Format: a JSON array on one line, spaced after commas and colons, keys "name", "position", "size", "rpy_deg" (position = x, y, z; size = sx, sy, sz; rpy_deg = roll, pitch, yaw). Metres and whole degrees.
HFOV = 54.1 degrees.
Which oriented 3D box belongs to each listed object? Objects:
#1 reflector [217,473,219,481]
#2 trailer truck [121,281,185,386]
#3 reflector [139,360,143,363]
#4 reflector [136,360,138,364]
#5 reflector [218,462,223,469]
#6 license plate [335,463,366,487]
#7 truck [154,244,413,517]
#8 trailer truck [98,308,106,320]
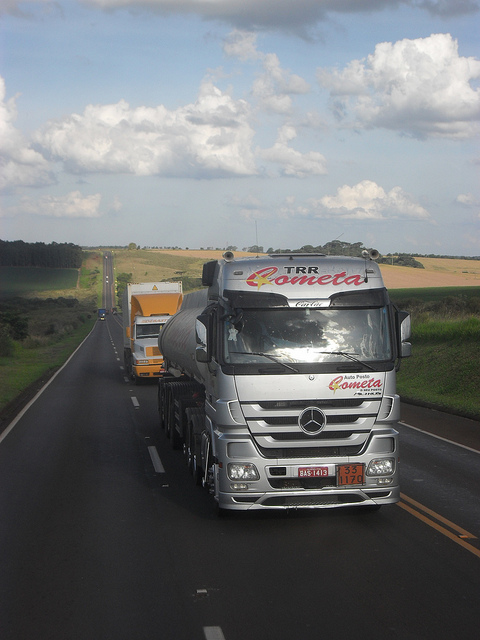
[{"name": "reflector", "position": [-0.273, 1.920, 5.762], "size": [0.003, 0.083, 0.066], "rpy_deg": [1, -6, -18]}, {"name": "trailer truck", "position": [-5.218, 0.217, 26.906], "size": [2.933, 4.827, 9.265], "rpy_deg": [0, 7, -18]}, {"name": "reflector", "position": [-4.777, 1.977, 22.617], "size": [0.143, 0.102, 0.080], "rpy_deg": [2, -12, 11]}, {"name": "reflector", "position": [-4.982, 1.995, 22.688], "size": [0.059, 0.183, 0.119], "rpy_deg": [0, -6, -13]}, {"name": "reflector", "position": [-0.218, 1.748, 5.696], "size": [0.060, 0.059, 0.106], "rpy_deg": [0, -18, 1]}, {"name": "license plate", "position": [1.285, 1.837, 5.593], "size": [0.279, 0.230, 0.057], "rpy_deg": [0, -3, -10]}, {"name": "truck", "position": [0.134, 0.799, 9.213], "size": [2.524, 3.077, 7.486], "rpy_deg": [0, -1, -12]}, {"name": "trailer truck", "position": [-30.084, -1.322, 102.290], "size": [1.752, 1.640, 2.688], "rpy_deg": [0, -5, -13]}]
